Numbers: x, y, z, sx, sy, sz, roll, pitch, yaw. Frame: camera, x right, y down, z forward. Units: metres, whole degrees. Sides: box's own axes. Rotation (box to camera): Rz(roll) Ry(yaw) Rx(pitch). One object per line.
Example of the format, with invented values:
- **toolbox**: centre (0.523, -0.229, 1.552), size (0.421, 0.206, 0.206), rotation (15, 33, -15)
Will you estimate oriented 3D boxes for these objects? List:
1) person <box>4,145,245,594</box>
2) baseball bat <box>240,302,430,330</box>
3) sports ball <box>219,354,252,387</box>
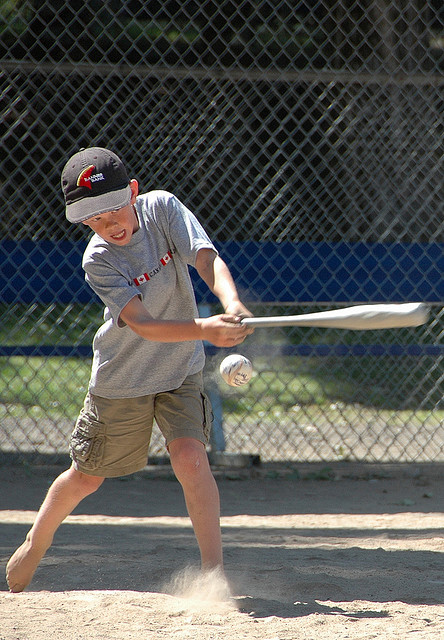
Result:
- **person**: centre (-0.309, 0.206, 2.562), size (0.679, 1.493, 0.983), rotation (-1, 13, -3)
- **baseball bat**: centre (0.357, -0.019, 2.559), size (0.677, 0.081, 0.104), rotation (-4, -7, -1)
- **sports ball**: centre (0.036, 0.143, 2.192), size (0.097, 0.076, 0.085), rotation (-1, 2, -1)
